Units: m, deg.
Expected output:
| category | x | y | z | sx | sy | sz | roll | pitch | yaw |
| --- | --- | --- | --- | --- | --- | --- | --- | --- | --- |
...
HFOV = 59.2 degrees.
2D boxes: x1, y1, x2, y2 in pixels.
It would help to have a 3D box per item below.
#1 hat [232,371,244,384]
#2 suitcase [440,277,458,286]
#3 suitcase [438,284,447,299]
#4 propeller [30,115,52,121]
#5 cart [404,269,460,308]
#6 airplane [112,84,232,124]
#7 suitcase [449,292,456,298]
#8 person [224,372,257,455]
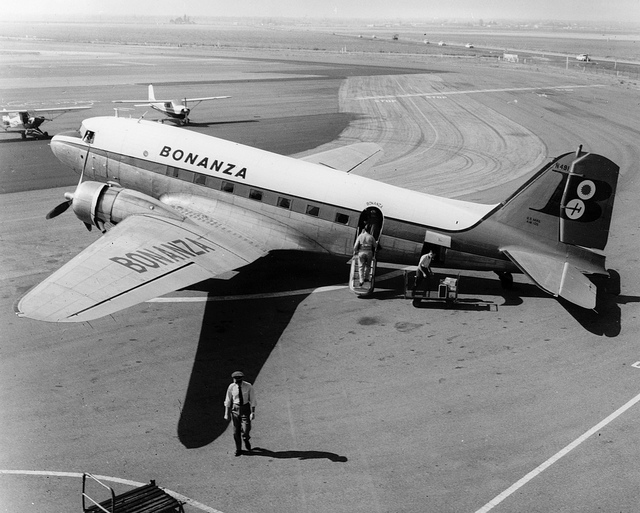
| category | x | y | z | sx | sy | sz | roll | pitch | yaw |
| --- | --- | --- | --- | --- | --- | --- | --- | --- | --- |
| hat | -2.316 | 3.280 | 15.494 | 0.235 | 0.273 | 0.351 | 4 | 23 | 3 |
| suitcase | 5.403 | 1.036 | 23.842 | 0.570 | 0.323 | 0.783 | 5 | 21 | 8 |
| suitcase | 5.055 | 1.403 | 23.516 | 0.346 | 0.569 | 0.333 | 7 | 26 | 8 |
| propeller | -25.822 | -12.726 | 51.524 | 2.076 | 0.059 | 0.076 | 13 | -14 | -11 |
| cart | 4.658 | 1.540 | 24.197 | 2.704 | 1.134 | 1.186 | 0 | 13 | 6 |
| airplane | -16.309 | -15.785 | 58.346 | 8.159 | 2.497 | 10.824 | 21 | 31 | 35 |
| suitcase | 5.535 | 1.607 | 23.881 | 0.379 | 0.189 | 0.084 | 7 | -15 | -3 |
| person | -2.254 | 4.325 | 15.547 | 0.787 | 2.250 | 0.956 | -2 | 27 | -9 |
